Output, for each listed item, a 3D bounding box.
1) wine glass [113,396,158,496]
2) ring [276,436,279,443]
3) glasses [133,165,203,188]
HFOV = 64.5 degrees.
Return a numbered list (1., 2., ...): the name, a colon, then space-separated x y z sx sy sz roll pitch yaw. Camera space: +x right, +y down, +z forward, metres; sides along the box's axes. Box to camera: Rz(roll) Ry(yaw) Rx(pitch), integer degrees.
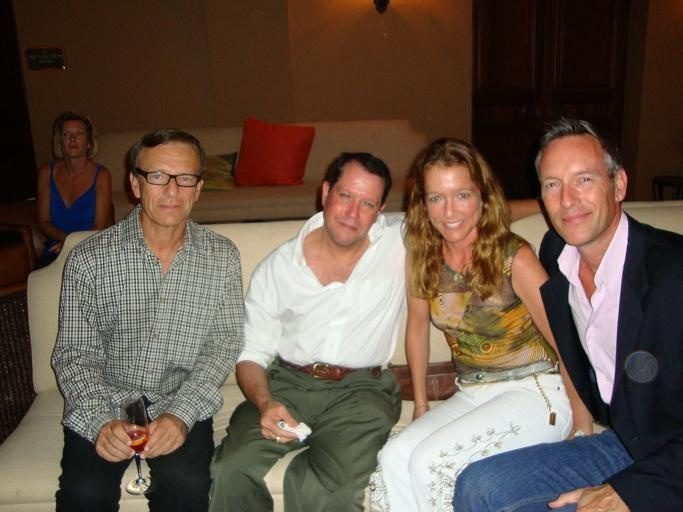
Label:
1. wine glass: -0.793 0.737 2.085 0.107 0.369 0.175 -6 17 -20
2. ring: -0.254 0.729 2.156 0.014 0.024 0.009 -3 -2 32
3. glasses: -0.756 -0.336 2.316 0.285 0.077 0.095 0 16 -4
